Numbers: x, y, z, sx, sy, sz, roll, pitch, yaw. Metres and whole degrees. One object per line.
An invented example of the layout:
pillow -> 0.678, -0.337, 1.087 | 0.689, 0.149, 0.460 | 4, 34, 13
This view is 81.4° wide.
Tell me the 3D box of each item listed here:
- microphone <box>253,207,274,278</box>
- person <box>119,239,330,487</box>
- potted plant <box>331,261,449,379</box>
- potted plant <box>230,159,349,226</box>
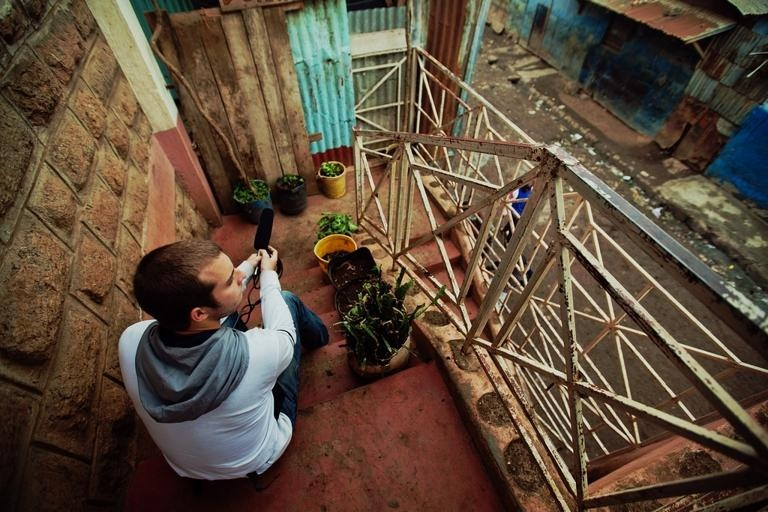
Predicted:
microphone -> -0.932, -0.045, 3.392 | 0.157, 0.622, 0.094 | 10, 21, -7
person -> -1.070, 0.770, 2.924 | 0.783, 1.738, 1.256 | 12, 64, 5
potted plant -> -0.017, 0.500, 3.751 | 0.695, 0.693, 0.986 | 28, 52, 22
potted plant -> -1.209, -0.775, 5.474 | 1.067, 0.368, 0.433 | -20, 53, -17
